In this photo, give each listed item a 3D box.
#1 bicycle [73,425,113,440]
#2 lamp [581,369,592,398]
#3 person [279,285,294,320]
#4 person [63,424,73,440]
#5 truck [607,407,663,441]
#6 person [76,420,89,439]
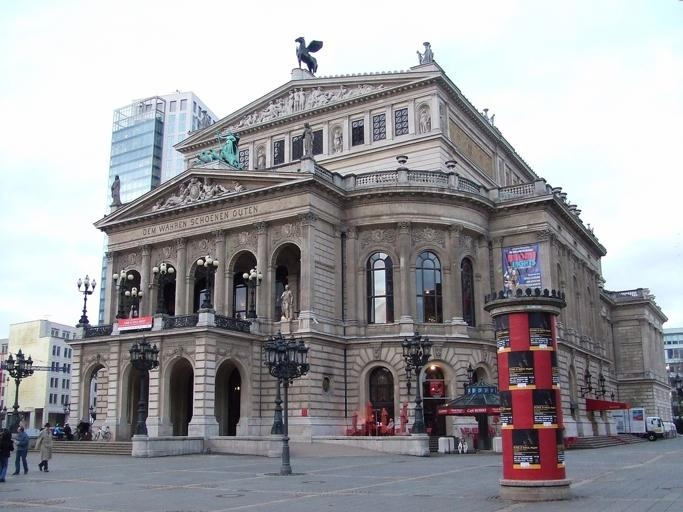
[{"bbox_3d":[-16.659,12.041,47.162,2.346,1.420,1.178,5,-28,-9],"label":"bicycle"},{"bbox_3d":[21.042,10.867,60.160,0.634,2.562,2.591,-10,-19,26],"label":"lamp"},{"bbox_3d":[-3.676,3.298,47.313,0.722,2.453,1.322,1,-17,-7],"label":"person"},{"bbox_3d":[-18.396,11.930,47.238,0.637,1.282,3.568,5,-19,-21],"label":"person"},{"bbox_3d":[30.547,17.279,72.073,2.746,3.464,8.764,-17,-23,40],"label":"truck"},{"bbox_3d":[-17.558,11.822,47.027,0.840,1.153,1.193,2,-15,-11],"label":"person"}]
